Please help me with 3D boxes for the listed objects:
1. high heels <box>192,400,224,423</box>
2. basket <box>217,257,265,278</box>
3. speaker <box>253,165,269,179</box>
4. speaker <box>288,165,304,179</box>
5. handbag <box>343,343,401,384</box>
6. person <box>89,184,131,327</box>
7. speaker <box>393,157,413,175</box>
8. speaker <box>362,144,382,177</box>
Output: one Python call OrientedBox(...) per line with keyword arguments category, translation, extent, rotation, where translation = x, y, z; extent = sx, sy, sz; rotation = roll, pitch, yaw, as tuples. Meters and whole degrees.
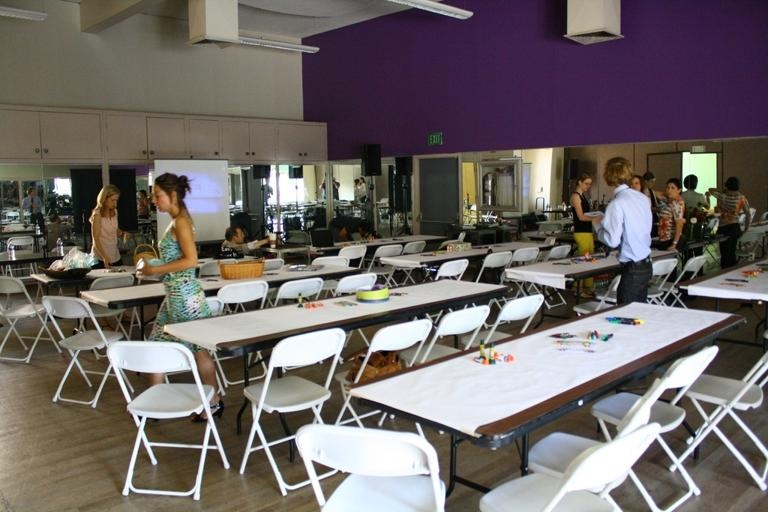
OrientedBox(category="high heels", translation=(-1.660, 1.502, 5.331), extent=(0.446, 0.215, 0.161), rotation=(2, -22, -2))
OrientedBox(category="basket", translation=(-1.673, 0.170, 6.624), extent=(0.381, 0.136, 0.296), rotation=(-2, 4, -41))
OrientedBox(category="speaker", translation=(-2.948, -1.978, 13.194), extent=(0.450, 0.299, 0.104), rotation=(0, 3, -41))
OrientedBox(category="speaker", translation=(-2.194, -2.060, 13.811), extent=(0.323, 0.323, 0.590), rotation=(3, 0, -8))
OrientedBox(category="handbag", translation=(-0.058, 0.947, 4.793), extent=(0.321, 0.148, 0.374), rotation=(-2, 2, 27))
OrientedBox(category="person", translation=(-4.112, -0.082, 8.219), extent=(0.590, 1.897, 0.652), rotation=(17, 22, 12))
OrientedBox(category="speaker", translation=(0.484, -2.062, 12.794), extent=(0.322, 0.634, 0.444), rotation=(3, 11, 9))
OrientedBox(category="speaker", translation=(-0.281, -2.154, 12.480), extent=(0.445, 0.684, 0.252), rotation=(-6, 10, -9))
